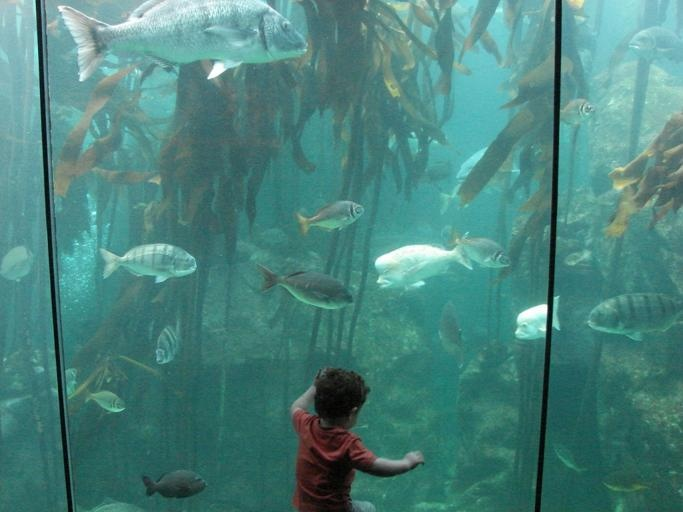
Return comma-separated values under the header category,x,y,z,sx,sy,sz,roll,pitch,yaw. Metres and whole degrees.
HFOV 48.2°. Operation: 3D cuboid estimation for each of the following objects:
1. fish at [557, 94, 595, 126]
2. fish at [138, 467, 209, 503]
category,x,y,z,sx,sy,sz,roll,pitch,yaw
fish,1.732,-1.057,5.580,0.239,0.184,0.167,4,6,18
fish,-1.216,1.689,5.640,0.613,0.289,0.180,-1,0,-5
